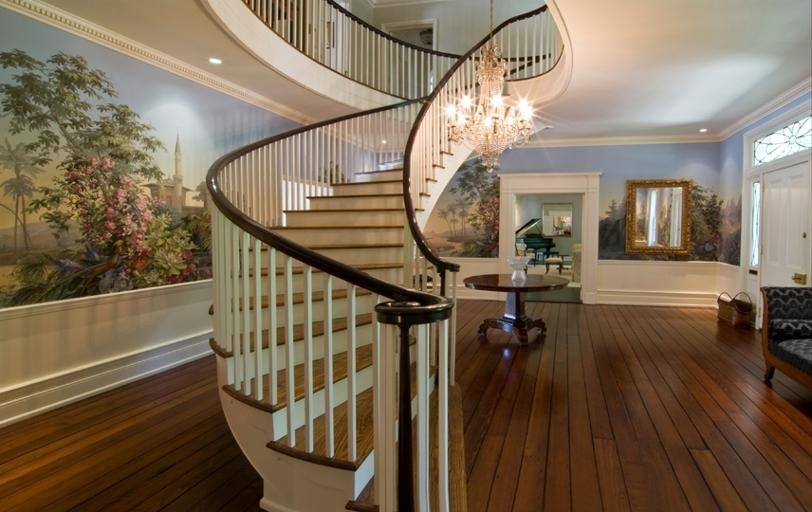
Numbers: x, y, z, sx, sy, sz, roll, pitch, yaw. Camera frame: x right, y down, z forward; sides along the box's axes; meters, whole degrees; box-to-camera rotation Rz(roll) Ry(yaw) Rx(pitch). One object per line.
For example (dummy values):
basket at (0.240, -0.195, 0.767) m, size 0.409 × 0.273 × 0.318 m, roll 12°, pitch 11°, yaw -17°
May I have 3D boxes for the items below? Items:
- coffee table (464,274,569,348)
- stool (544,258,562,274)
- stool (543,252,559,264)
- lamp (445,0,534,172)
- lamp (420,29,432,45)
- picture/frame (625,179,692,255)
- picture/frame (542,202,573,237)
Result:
coffee table at (1.600, 0.727, 7.313) m, size 1.081 × 0.681 × 1.138 m, roll 6°, pitch 9°, yaw 34°
stool at (4.012, 0.191, 13.372) m, size 0.476 × 0.534 × 0.717 m, roll -3°, pitch 4°, yaw 19°
stool at (4.102, 0.086, 13.797) m, size 0.480 × 0.236 × 0.495 m, roll -2°, pitch 2°, yaw -1°
lamp at (1.238, -2.514, 7.162) m, size 1.157 × 2.568 × 1.735 m, roll 2°, pitch 8°, yaw 13°
lamp at (0.506, -5.216, 11.784) m, size 0.334 × 0.147 × 0.466 m, roll -1°, pitch -2°, yaw -8°
picture/frame at (4.846, -0.777, 9.402) m, size 1.321 × 1.845 × 0.194 m, roll 0°, pitch 3°, yaw 9°
picture/frame at (4.738, -1.110, 15.315) m, size 1.041 × 1.362 × 0.052 m, roll 2°, pitch 0°, yaw 14°
